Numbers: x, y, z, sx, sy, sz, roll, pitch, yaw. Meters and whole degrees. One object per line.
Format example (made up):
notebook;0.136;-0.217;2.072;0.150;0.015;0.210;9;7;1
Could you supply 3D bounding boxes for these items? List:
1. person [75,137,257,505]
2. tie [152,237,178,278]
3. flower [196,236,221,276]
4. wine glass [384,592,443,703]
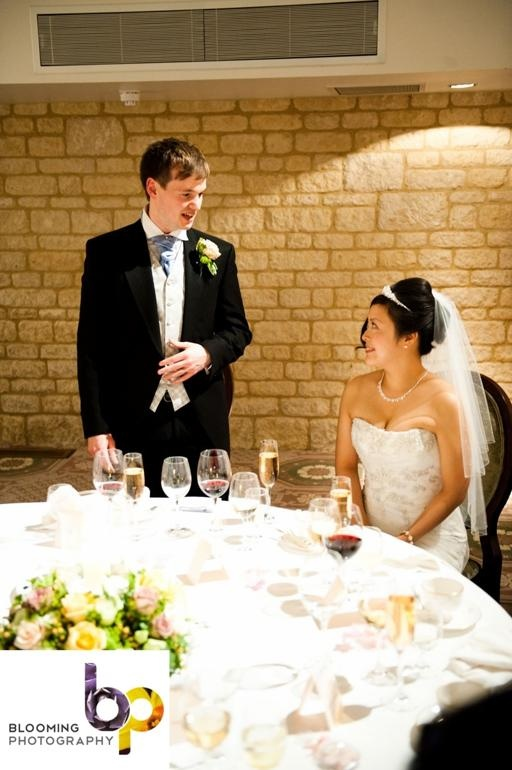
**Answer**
person;-0.333;-0.149;2.364;0.671;1.120;0.444;1;6;-16
tie;-0.369;-0.507;2.431;0.104;0.148;0.049;0;7;-8
flower;-0.189;-0.504;2.414;0.114;0.112;0.108;-20;-30;-13
wine glass;0.272;0.418;1.050;0.102;0.153;0.210;4;6;13
